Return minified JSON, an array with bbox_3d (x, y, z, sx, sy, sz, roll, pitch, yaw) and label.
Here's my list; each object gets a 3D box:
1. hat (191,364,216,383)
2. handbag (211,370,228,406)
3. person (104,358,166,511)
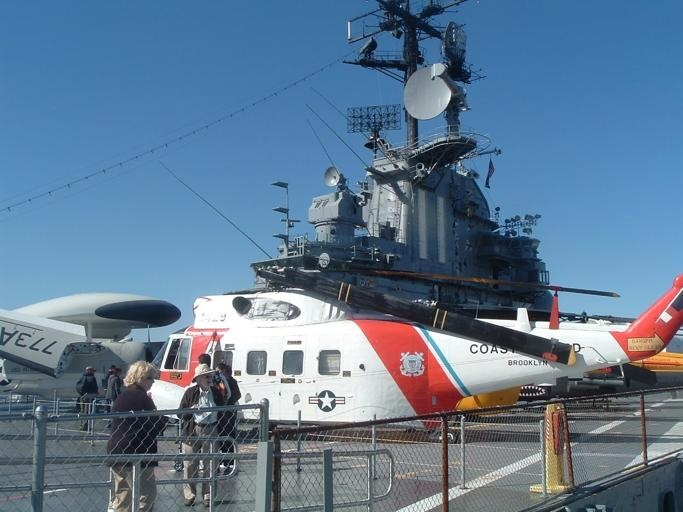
[{"bbox_3d":[-3.080,2.608,20.447,0.493,0.171,0.454,12,-23,-32],"label":"hat"},{"bbox_3d":[-2.868,3.042,21.583,0.300,0.710,0.565,-6,8,-19],"label":"handbag"},{"bbox_3d":[-4.152,3.705,18.445,0.923,2.975,1.176,3,8,36],"label":"person"}]
